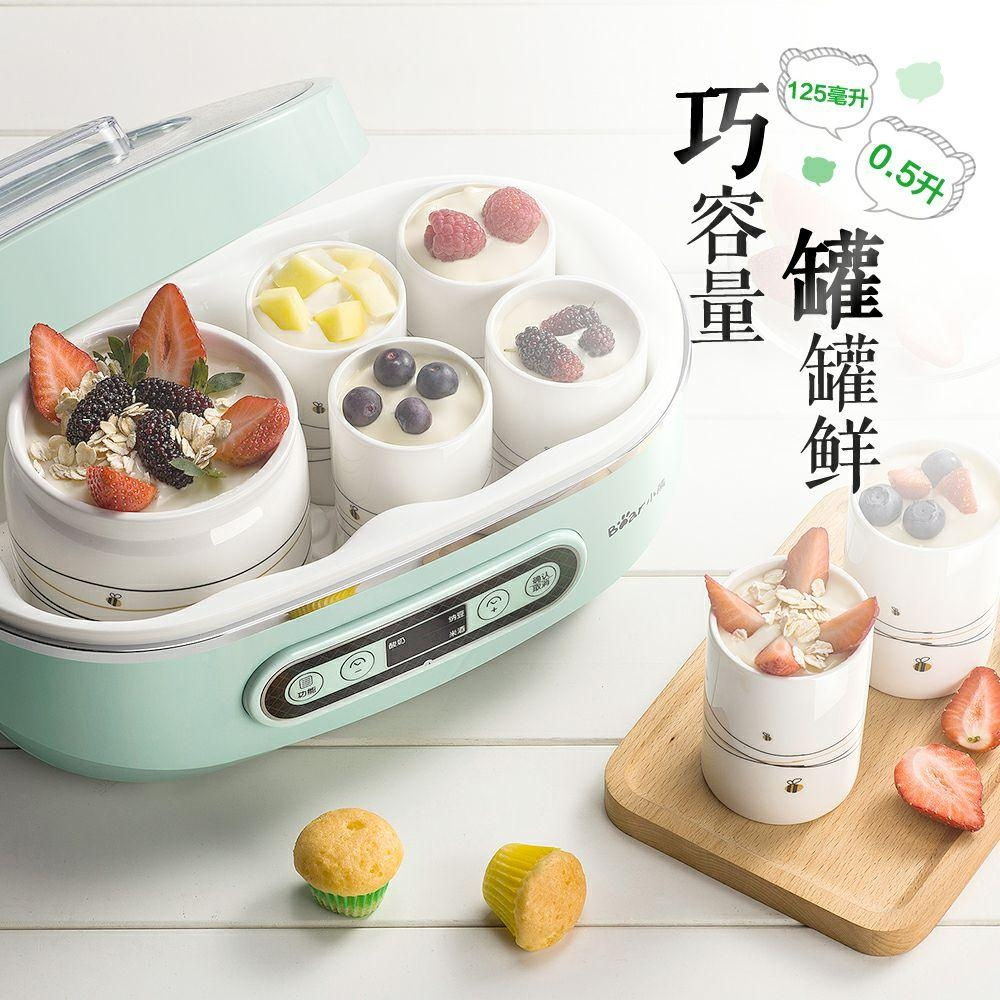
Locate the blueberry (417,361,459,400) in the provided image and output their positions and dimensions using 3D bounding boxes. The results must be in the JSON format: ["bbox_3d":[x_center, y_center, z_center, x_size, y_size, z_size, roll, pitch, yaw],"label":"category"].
[{"bbox_3d":[-0.044,-0.079,0.659,0.023,0.015,0.026,21,62,10],"label":"blueberry"}]

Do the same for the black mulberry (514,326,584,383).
[{"bbox_3d":[0.034,-0.099,0.678,0.026,0.024,0.053,-20,38,-19],"label":"black mulberry"}]

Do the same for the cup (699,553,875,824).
[{"bbox_3d":[0.157,0.092,0.635,0.088,0.150,0.173,2,45,8],"label":"cup"}]

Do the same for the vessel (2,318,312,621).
[{"bbox_3d":[-0.205,0.005,0.600,0.166,0.133,0.184,-18,51,-16],"label":"vessel"}]

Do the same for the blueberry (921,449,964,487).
[{"bbox_3d":[0.289,-0.022,0.642,0.020,0.017,0.023,-4,34,3],"label":"blueberry"}]

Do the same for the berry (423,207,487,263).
[{"bbox_3d":[-0.033,-0.203,0.773,0.043,0.033,0.037,1,44,12],"label":"berry"}]

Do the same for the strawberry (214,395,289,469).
[{"bbox_3d":[-0.150,-0.042,0.598,0.016,0.049,0.037,17,24,-49],"label":"strawberry"}]

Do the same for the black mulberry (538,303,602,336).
[{"bbox_3d":[0.052,-0.130,0.715,0.036,0.018,0.023,-15,27,1],"label":"black mulberry"}]

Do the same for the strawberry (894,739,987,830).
[{"bbox_3d":[0.281,0.179,0.635,0.042,0.015,0.052,-31,59,-23],"label":"strawberry"}]

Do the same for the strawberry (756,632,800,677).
[{"bbox_3d":[0.150,0.086,0.532,0.015,0.022,0.009,0,44,-12],"label":"strawberry"}]

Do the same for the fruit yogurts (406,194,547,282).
[{"bbox_3d":[-0.018,-0.209,0.797,0.089,0.037,0.100,-19,52,-18],"label":"fruit yogurts"}]

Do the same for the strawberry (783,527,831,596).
[{"bbox_3d":[0.181,0.037,0.580,0.023,0.041,0.009,15,4,24],"label":"strawberry"}]

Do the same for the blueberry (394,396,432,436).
[{"bbox_3d":[-0.055,-0.054,0.637,0.018,0.026,0.012,-17,0,-10],"label":"blueberry"}]

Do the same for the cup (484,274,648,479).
[{"bbox_3d":[0.052,-0.082,0.767,0.125,0.102,0.134,-2,62,3],"label":"cup"}]

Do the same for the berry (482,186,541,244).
[{"bbox_3d":[0.009,-0.228,0.791,0.038,0.039,0.047,9,21,-14],"label":"berry"}]

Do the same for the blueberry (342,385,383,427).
[{"bbox_3d":[-0.089,-0.060,0.639,0.023,0.025,0.026,23,77,-7],"label":"blueberry"}]

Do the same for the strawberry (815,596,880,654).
[{"bbox_3d":[0.192,0.069,0.547,0.028,0.027,0.026,6,40,12],"label":"strawberry"}]

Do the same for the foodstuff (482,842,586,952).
[{"bbox_3d":[0.021,0.229,0.574,0.053,0.070,0.052,-6,8,-34],"label":"foodstuff"}]

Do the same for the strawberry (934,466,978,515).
[{"bbox_3d":[0.292,-0.004,0.633,0.025,0.027,0.008,-30,8,-38],"label":"strawberry"}]

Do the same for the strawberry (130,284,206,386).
[{"bbox_3d":[-0.220,-0.106,0.644,0.043,0.070,0.015,1,11,10],"label":"strawberry"}]

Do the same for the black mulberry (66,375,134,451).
[{"bbox_3d":[-0.242,-0.055,0.596,0.027,0.021,0.056,37,71,-18],"label":"black mulberry"}]

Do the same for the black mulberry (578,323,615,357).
[{"bbox_3d":[0.070,-0.113,0.701,0.018,0.021,0.025,17,44,-13],"label":"black mulberry"}]

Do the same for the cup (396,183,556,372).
[{"bbox_3d":[-0.025,-0.180,0.836,0.135,0.102,0.144,-1,55,1],"label":"cup"}]

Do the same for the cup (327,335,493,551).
[{"bbox_3d":[-0.058,-0.036,0.647,0.071,0.120,0.070,1,49,-1],"label":"cup"}]

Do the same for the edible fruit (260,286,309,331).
[{"bbox_3d":[-0.157,-0.138,0.720,0.027,0.018,0.014,31,33,34],"label":"edible fruit"}]

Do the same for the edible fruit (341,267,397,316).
[{"bbox_3d":[-0.096,-0.154,0.738,0.028,0.016,0.048,-28,68,-28],"label":"edible fruit"}]

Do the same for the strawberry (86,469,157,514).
[{"bbox_3d":[-0.211,-0.005,0.549,0.023,0.020,0.031,27,7,3],"label":"strawberry"}]

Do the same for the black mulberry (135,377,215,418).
[{"bbox_3d":[-0.199,-0.062,0.610,0.044,0.021,0.023,21,50,-1],"label":"black mulberry"}]

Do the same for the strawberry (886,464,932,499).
[{"bbox_3d":[0.266,-0.011,0.640,0.021,0.019,0.014,27,73,29],"label":"strawberry"}]

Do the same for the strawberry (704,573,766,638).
[{"bbox_3d":[0.135,0.063,0.566,0.039,0.027,0.013,54,33,1],"label":"strawberry"}]
